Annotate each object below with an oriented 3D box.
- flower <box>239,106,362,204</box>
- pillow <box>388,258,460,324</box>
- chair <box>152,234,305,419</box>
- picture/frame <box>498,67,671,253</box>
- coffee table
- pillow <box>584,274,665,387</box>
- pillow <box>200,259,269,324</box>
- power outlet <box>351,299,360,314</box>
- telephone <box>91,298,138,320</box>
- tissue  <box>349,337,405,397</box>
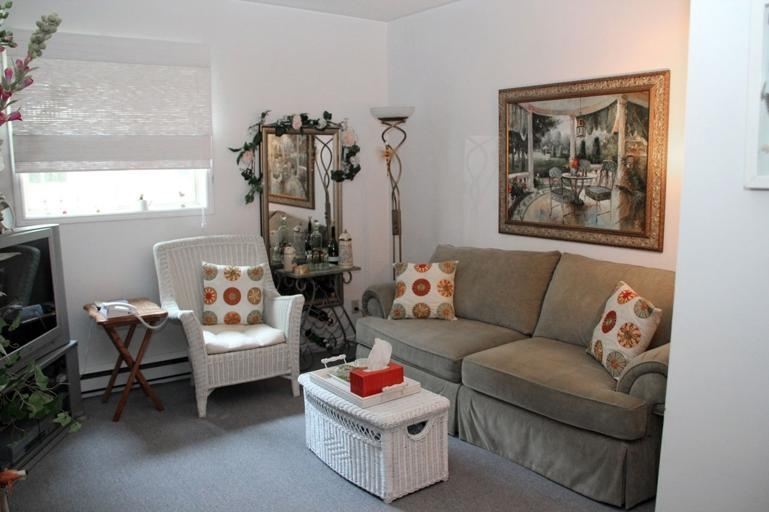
[{"bbox_3d":[-0.880,-0.993,5.251,1.286,0.863,0.391,-5,15,-17],"label":"flower"},{"bbox_3d":[0.363,0.323,4.578,0.504,0.475,0.177,0,-17,19],"label":"pillow"},{"bbox_3d":[-1.342,0.520,4.575,1.062,1.268,1.089,-8,16,-27],"label":"chair"},{"bbox_3d":[1.668,-0.780,4.244,0.106,1.433,1.464,-10,13,-44],"label":"picture/frame"},{"bbox_3d":[-0.078,1.097,3.497,0.610,0.477,0.890,-6,12,-36],"label":"coffee table"},{"bbox_3d":[1.631,0.553,3.821,0.453,0.780,0.859,6,56,7],"label":"pillow"},{"bbox_3d":[-1.320,0.332,4.574,0.529,0.549,0.193,2,-5,-19],"label":"pillow"},{"bbox_3d":[-0.321,0.543,5.773,0.147,0.208,0.021,-3,6,-39],"label":"power outlet"},{"bbox_3d":[-2.159,0.405,4.229,0.263,0.094,0.467,-11,18,-35],"label":"telephone"},{"bbox_3d":[-0.031,0.767,3.617,0.345,0.348,0.182,-4,8,-37],"label":"tissue "}]
